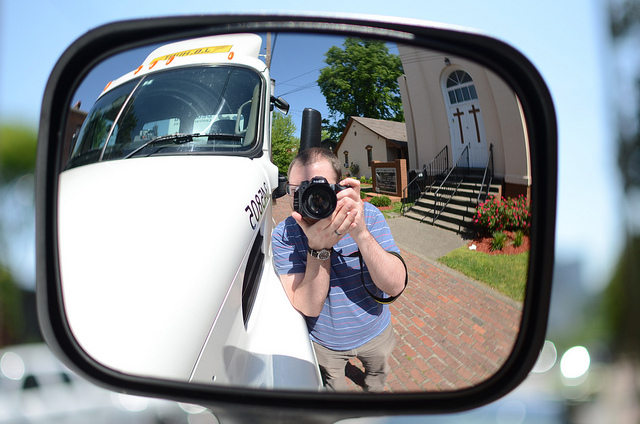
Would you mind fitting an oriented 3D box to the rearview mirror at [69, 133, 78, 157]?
[{"bbox_3d":[-1.081,-0.299,1.749,0.011,0.097,0.050,2,3,-8],"label":"rearview mirror"}]

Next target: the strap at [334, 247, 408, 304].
[{"bbox_3d":[0.285,0.346,1.989,0.196,0.371,0.076,-33,-24,0],"label":"strap"}]

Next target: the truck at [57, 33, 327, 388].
[{"bbox_3d":[-0.522,-0.084,2.223,0.913,1.063,1.758,1,4,5],"label":"truck"}]

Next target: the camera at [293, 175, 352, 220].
[{"bbox_3d":[-0.021,-0.062,2.040,0.327,0.221,0.268,3,-6,13],"label":"camera"}]
